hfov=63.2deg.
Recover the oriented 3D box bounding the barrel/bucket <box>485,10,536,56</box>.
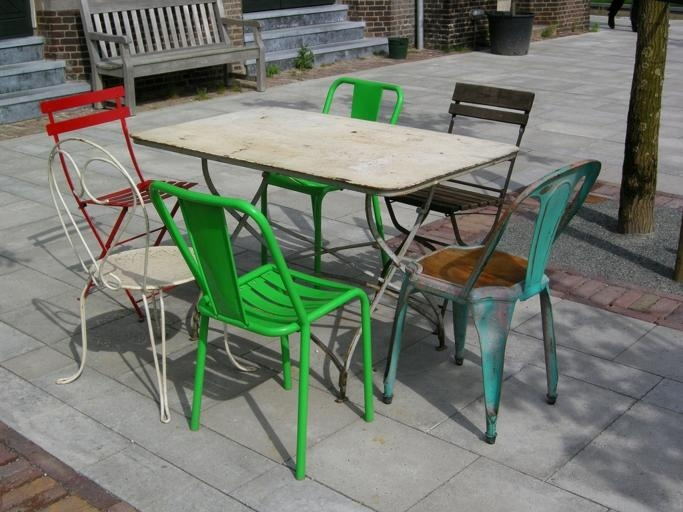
[{"bbox_3d":[3.894,-5.072,12.880,1.329,0.682,1.111,-2,14,-5],"label":"barrel/bucket"}]

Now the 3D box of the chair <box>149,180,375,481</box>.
[{"bbox_3d":[-0.315,0.242,2.403,0.855,1.145,0.978,-15,31,-23],"label":"chair"}]

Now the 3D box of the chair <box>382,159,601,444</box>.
[{"bbox_3d":[0.619,0.136,2.570,0.635,1.194,0.894,17,33,28],"label":"chair"}]
